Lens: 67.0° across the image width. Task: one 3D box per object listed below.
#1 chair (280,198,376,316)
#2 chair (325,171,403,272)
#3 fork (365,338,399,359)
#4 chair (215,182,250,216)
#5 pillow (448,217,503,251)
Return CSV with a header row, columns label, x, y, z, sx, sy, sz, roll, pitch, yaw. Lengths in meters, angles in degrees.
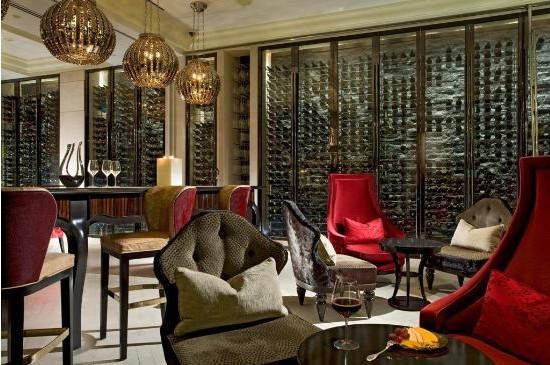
label,x,y,z,sx,sy,sz,roll,pitch,yaw
chair,0.581,0.726,4.881,1.289,1.414,1.151,-2,2,-17
chair,1.413,0.447,5.472,1.029,1.228,1.217,1,-10,-9
fork,0.618,0.974,2.435,0.071,0.036,0.297,7,6,37
chair,-0.506,0.196,5.082,0.436,0.469,0.428,4,3,43
pillow,2.336,0.597,4.806,0.322,0.284,0.704,-18,5,-22
